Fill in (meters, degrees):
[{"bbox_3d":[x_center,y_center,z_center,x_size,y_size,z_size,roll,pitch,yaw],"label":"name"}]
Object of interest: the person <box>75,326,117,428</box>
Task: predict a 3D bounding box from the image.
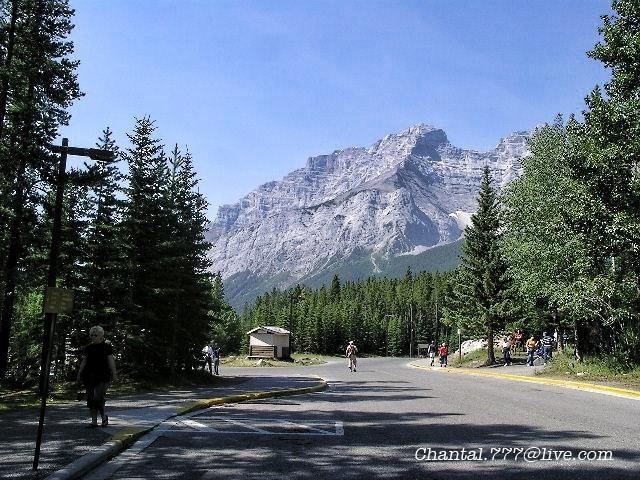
[{"bbox_3d":[-6.086,3.724,16.507,0.896,2.693,0.887,4,-13,-19],"label":"person"}]
